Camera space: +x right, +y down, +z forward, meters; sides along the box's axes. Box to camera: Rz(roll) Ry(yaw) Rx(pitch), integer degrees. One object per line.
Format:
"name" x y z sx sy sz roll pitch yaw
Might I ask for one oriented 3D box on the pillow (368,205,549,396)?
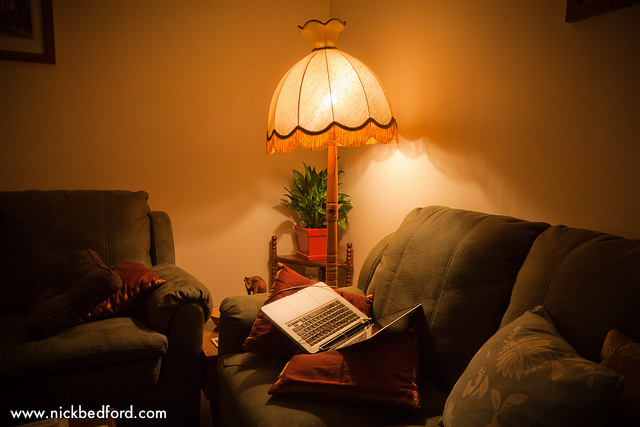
"pillow" 0.529 0.380 2.425 0.444 0.759 0.827 3 4 -38

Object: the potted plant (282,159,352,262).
"potted plant" -0.201 0.003 3.703 0.610 0.769 0.628 1 -1 -18

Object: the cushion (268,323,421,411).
"cushion" 0.137 0.665 2.054 0.408 0.132 0.426 -3 5 9

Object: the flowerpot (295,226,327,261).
"flowerpot" -0.015 0.234 3.581 0.241 0.222 0.196 5 4 -17

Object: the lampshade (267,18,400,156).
"lampshade" 0.040 -0.753 2.827 0.709 0.648 0.745 -3 9 1

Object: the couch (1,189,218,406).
"couch" -1.215 0.393 2.810 1.166 1.134 1.126 0 5 -35
